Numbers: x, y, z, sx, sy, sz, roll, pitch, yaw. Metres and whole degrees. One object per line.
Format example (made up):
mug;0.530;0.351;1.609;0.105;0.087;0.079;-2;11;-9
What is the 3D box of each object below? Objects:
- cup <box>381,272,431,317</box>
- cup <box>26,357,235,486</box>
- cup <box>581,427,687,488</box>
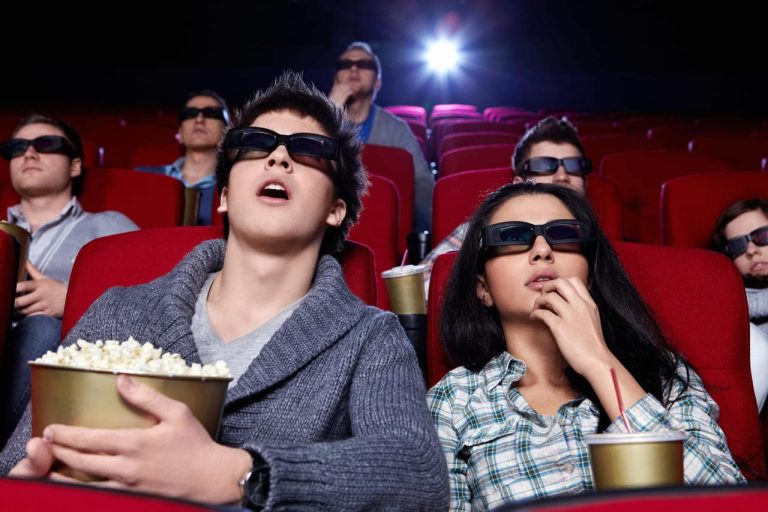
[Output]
cup;0.041;0.064;1.008;0.071;0.073;0.069;-7;-5;-1
cup;-0.231;0.132;0.552;0.134;0.067;0.116;10;-9;1
cup;0.237;0.180;0.585;0.084;0.053;0.075;0;-10;-5
